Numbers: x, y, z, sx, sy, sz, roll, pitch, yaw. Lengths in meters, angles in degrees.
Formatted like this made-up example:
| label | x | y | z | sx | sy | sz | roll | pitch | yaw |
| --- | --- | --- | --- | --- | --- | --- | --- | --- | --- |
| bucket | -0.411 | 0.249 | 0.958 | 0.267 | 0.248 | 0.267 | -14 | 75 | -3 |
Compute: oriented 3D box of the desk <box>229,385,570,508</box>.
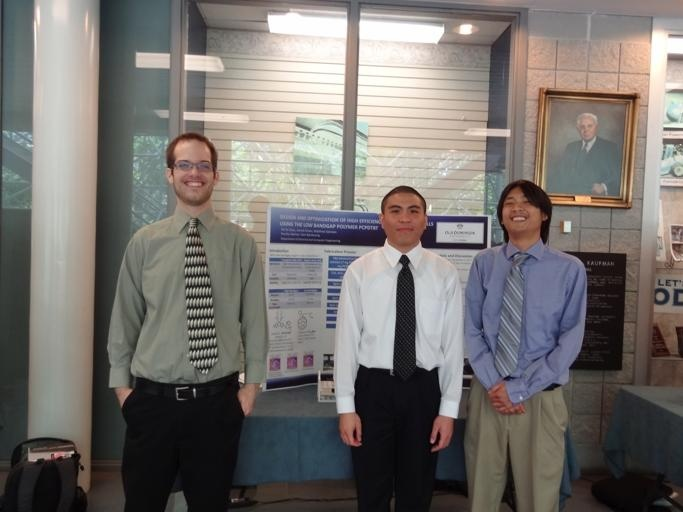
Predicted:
| label | x | y | z | sx | sy | sz | roll | pitch | yaw |
| --- | --- | --- | --- | --- | --- | --- | --- | --- | --- |
| desk | 0.071 | 1.229 | 4.195 | 1.624 | 0.403 | 0.954 | 1 | -5 | -3 |

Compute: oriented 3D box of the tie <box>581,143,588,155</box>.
| label | x | y | z | sx | sy | sz | roll | pitch | yaw |
| --- | --- | --- | --- | --- | --- | --- | --- | --- | --- |
| tie | 2.159 | -0.948 | 5.265 | 0.070 | 0.100 | 0.026 | 3 | -1 | 8 |

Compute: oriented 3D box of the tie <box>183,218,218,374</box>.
| label | x | y | z | sx | sy | sz | roll | pitch | yaw |
| --- | --- | --- | --- | --- | --- | --- | --- | --- | --- |
| tie | -0.848 | 0.232 | 3.554 | 0.179 | 0.908 | 0.221 | -1 | 4 | -15 |

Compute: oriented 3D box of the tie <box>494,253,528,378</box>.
| label | x | y | z | sx | sy | sz | roll | pitch | yaw |
| --- | --- | --- | --- | --- | --- | --- | --- | --- | --- |
| tie | 1.091 | 0.382 | 3.844 | 0.150 | 0.793 | 0.202 | 2 | 4 | 29 |
